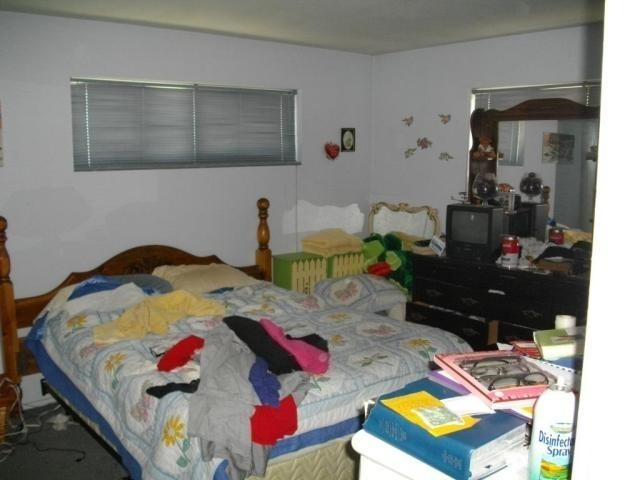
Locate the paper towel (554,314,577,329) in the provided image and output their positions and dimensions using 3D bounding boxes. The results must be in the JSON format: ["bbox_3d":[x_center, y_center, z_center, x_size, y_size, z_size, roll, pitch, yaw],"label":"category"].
[{"bbox_3d":[0.820,0.276,1.623,0.060,0.045,0.062,0,3,9],"label":"paper towel"}]

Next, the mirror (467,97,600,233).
[{"bbox_3d":[1.819,-0.612,4.072,0.060,0.993,1.181,-5,10,-40],"label":"mirror"}]

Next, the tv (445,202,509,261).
[{"bbox_3d":[1.295,-0.103,4.247,0.481,0.495,0.488,8,9,42],"label":"tv"}]

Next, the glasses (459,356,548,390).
[{"bbox_3d":[0.532,0.378,1.391,0.104,0.027,0.095,-5,20,-13],"label":"glasses"}]

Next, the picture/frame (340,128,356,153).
[{"bbox_3d":[0.297,-1.077,5.274,0.223,0.261,0.018,-10,11,-33],"label":"picture/frame"}]
